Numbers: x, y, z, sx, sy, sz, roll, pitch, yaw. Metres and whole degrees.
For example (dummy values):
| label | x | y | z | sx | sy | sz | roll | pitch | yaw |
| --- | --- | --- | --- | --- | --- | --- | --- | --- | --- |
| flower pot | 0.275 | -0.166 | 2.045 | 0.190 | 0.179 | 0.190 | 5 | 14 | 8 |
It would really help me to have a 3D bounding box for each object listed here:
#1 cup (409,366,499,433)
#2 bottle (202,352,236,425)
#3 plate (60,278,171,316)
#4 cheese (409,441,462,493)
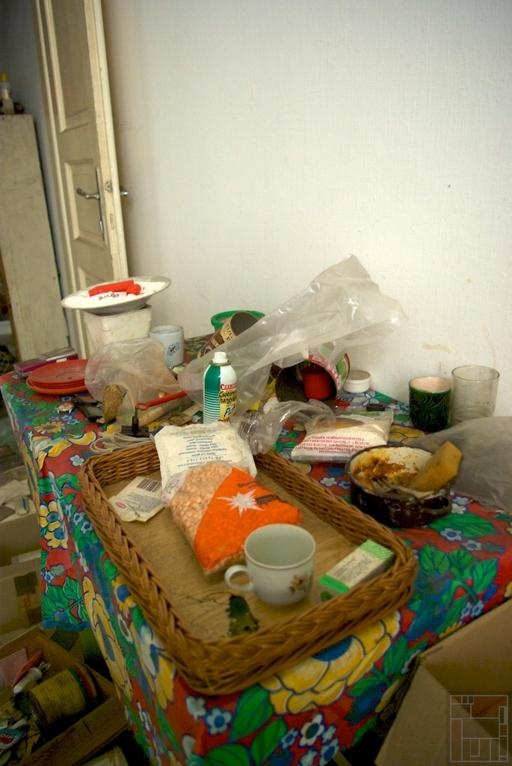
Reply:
| label | x | y | z | sx | sy | sz | roll | pitch | yaw |
| --- | --- | --- | --- | --- | --- | --- | --- | --- | --- |
| cup | 0.356 | 0.023 | 0.992 | 0.095 | 0.121 | 0.124 | -14 | 24 | -30 |
| bottle | -0.063 | 0.011 | 0.955 | 0.049 | 0.129 | 0.055 | 13 | 22 | 37 |
| plate | -0.342 | -0.224 | 1.427 | 0.209 | 0.065 | 0.270 | 12 | 22 | 42 |
| cheese | 0.220 | 0.107 | 0.677 | 0.063 | 0.058 | 0.061 | -11 | 21 | -31 |
